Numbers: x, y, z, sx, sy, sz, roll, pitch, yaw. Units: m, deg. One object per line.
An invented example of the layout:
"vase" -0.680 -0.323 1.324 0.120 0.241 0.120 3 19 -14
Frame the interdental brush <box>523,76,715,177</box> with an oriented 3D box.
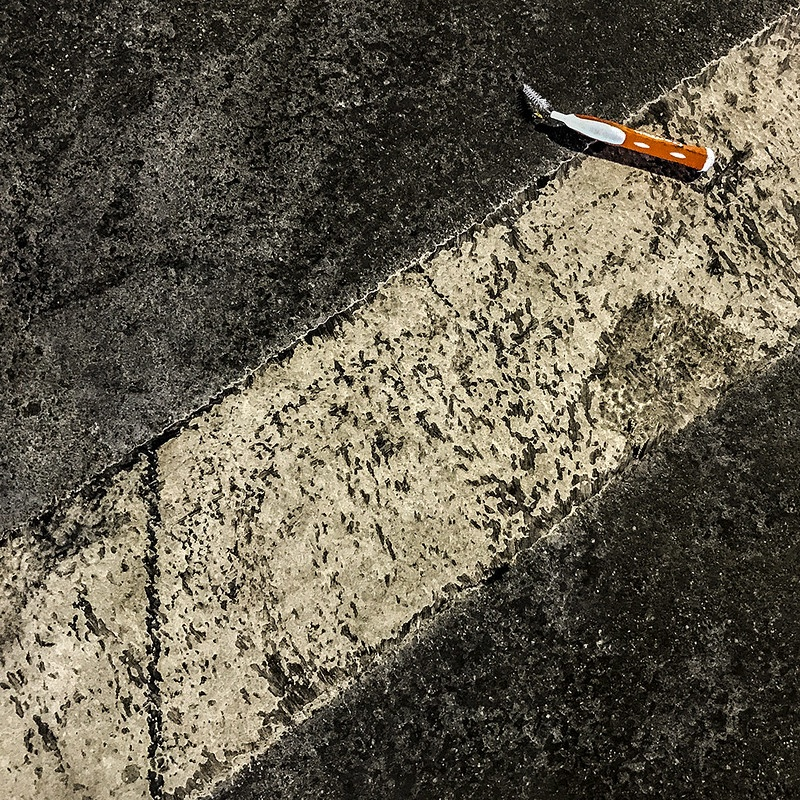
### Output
"interdental brush" 0.563 -0.698 4.554 0.540 0.118 0.111 18 82 5
